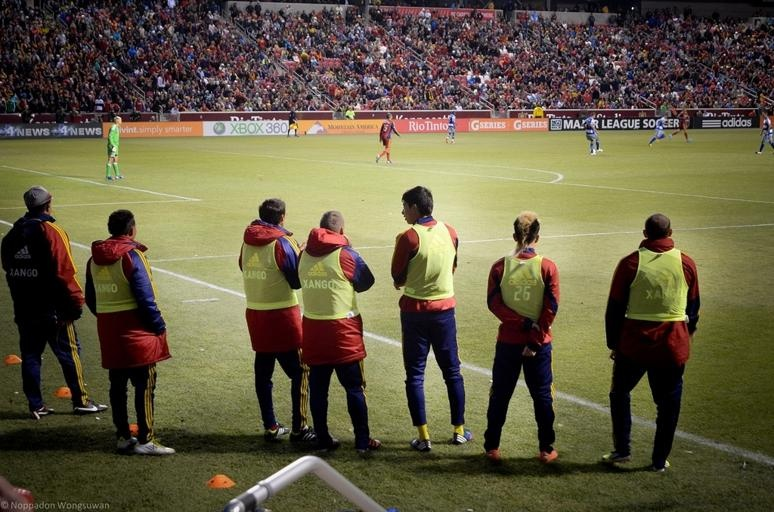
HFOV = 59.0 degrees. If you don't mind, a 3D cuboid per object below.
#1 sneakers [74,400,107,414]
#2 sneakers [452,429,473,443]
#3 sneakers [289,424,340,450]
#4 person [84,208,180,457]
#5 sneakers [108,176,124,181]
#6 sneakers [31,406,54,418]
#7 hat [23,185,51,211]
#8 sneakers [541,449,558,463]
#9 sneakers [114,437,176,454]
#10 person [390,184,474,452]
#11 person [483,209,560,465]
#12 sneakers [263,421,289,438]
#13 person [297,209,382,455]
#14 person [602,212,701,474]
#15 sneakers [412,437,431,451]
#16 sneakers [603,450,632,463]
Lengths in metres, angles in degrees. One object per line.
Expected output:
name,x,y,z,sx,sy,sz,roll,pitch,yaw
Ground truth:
sneakers,-3.355,1.741,7.798,0.366,0.134,0.121,-2,18,-15
sneakers,0.784,1.897,7.140,0.106,0.113,0.273,1,4,41
sneakers,-0.805,1.884,7.106,0.601,0.230,0.196,-1,0,14
person,-2.565,0.787,6.895,0.801,2.423,0.452,5,12,25
sneakers,-10.302,-2.914,25.970,0.554,0.213,0.181,0,5,24
sneakers,-3.857,1.759,7.681,0.089,0.100,0.253,13,12,42
hat,-3.963,-0.627,7.739,0.228,0.296,0.685,-5,11,-27
sneakers,1.613,1.999,6.828,0.233,0.088,0.084,-3,9,-34
sneakers,-2.442,1.920,7.003,0.633,0.224,0.202,3,-3,-5
person,0.455,0.636,7.113,0.818,2.630,0.807,0,11,1
person,1.379,0.807,6.854,0.751,2.419,0.657,1,11,7
sneakers,-1.144,1.852,7.271,0.312,0.125,0.109,-6,12,-42
person,-0.495,0.765,6.993,0.815,2.393,0.644,-1,11,-4
person,2.586,0.841,6.742,0.820,2.437,0.688,4,11,22
sneakers,0.356,1.933,6.974,0.099,0.087,0.206,-1,1,-18
sneakers,2.288,1.998,6.801,0.283,0.121,0.112,2,2,8
